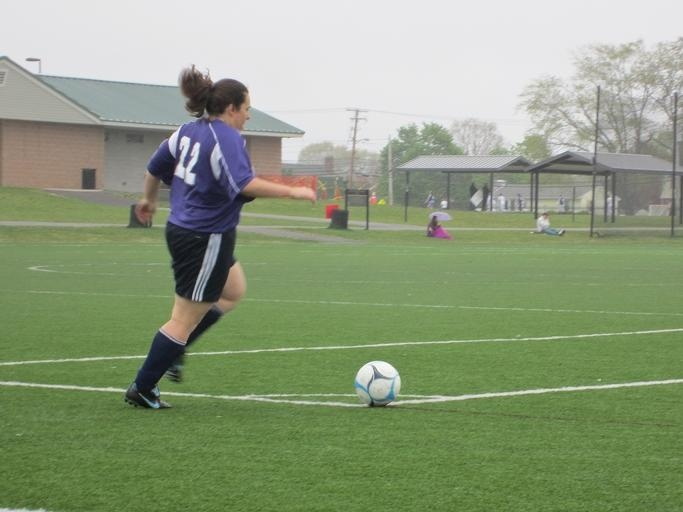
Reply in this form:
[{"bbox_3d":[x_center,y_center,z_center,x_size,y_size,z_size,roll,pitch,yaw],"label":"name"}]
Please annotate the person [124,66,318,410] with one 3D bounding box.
[{"bbox_3d":[-1.037,-0.123,6.659,1.334,1.809,0.668,5,2,41],"label":"person"}]
